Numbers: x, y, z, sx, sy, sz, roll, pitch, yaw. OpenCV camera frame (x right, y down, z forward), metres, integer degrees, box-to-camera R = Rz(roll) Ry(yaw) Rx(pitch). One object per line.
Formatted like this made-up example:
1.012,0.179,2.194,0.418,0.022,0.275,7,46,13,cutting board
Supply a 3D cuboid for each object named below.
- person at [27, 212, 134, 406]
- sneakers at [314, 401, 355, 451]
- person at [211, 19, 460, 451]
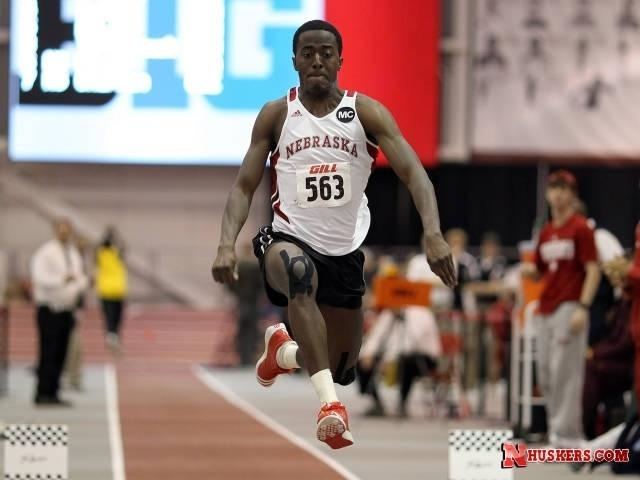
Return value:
-2.034,0.546,10.160,0.441,1.360,0.375,3,4,27,person
0.097,1.247,9.018,0.231,0.347,0.293,2,4,2,sneakers
0.048,-0.059,9.308,1.496,2.887,0.878,2,4,5,person
